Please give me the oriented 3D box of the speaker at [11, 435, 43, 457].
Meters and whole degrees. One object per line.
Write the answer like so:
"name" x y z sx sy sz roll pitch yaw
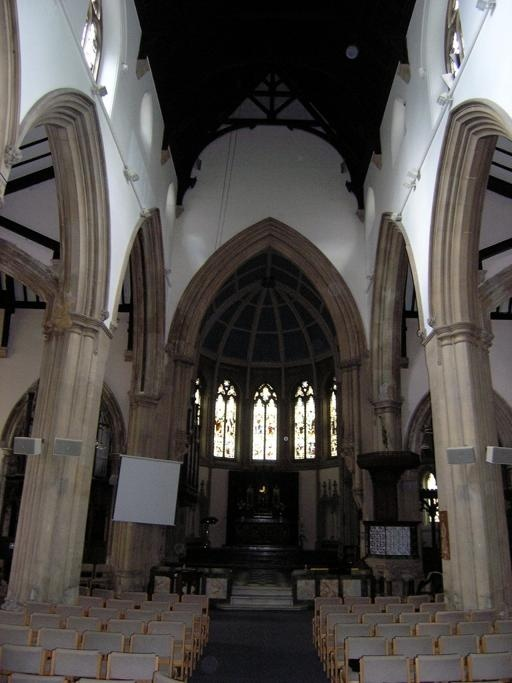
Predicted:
"speaker" -3.443 1.587 7.886 0.408 0.278 0.433 10 -22 -24

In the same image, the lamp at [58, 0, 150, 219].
"lamp" -2.522 -3.734 8.753 0.230 0.302 2.607 -5 -54 12
